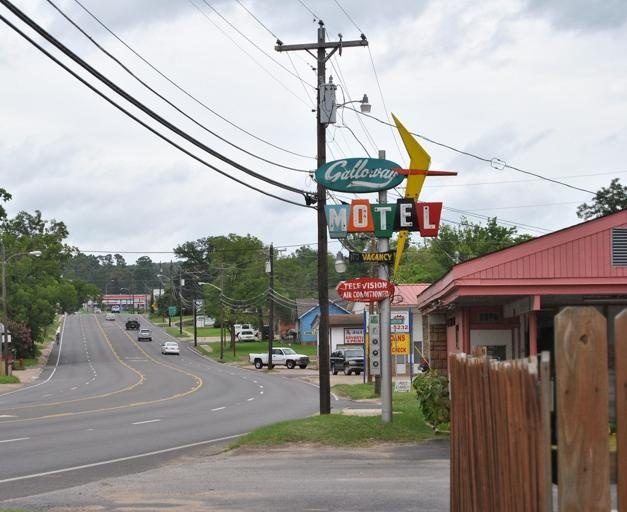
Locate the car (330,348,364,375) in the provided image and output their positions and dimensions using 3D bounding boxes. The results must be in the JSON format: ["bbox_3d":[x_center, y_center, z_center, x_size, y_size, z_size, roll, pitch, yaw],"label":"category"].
[{"bbox_3d":[2.027,5.709,57.448,1.050,0.947,1.943,2,-10,-23],"label":"car"}]

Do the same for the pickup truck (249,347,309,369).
[{"bbox_3d":[-2.036,6.316,65.217,3.112,1.143,1.515,-2,-2,7],"label":"pickup truck"}]

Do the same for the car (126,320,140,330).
[{"bbox_3d":[-19.492,7.477,114.044,1.177,1.216,1.696,0,-8,-1],"label":"car"}]
